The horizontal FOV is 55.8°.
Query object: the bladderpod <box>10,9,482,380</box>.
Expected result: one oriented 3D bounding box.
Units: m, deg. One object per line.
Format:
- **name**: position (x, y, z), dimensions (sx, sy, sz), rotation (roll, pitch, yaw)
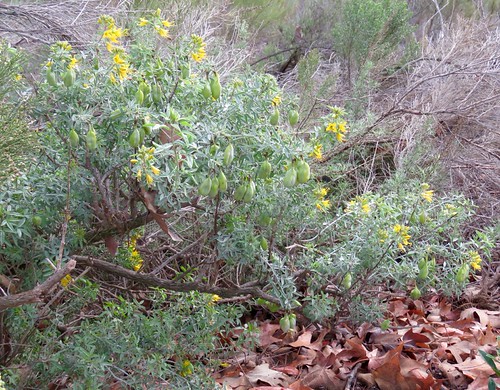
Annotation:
- **bladderpod**: position (-0.159, 0.106, 2.557), dimensions (2.432, 1.976, 1.163), rotation (-3, 31, -9)
